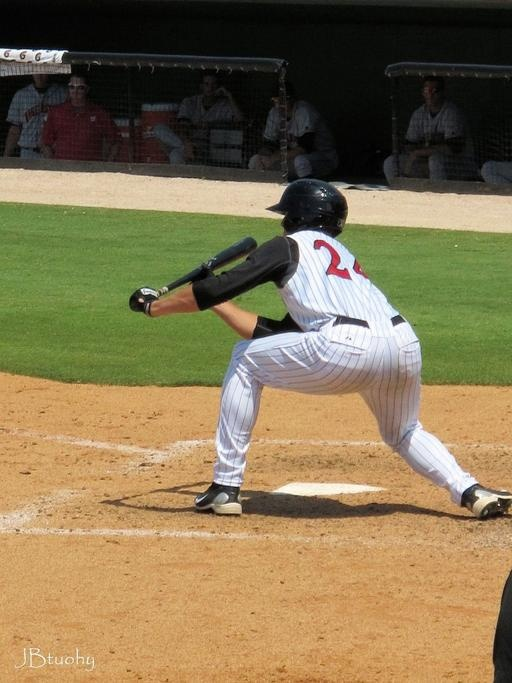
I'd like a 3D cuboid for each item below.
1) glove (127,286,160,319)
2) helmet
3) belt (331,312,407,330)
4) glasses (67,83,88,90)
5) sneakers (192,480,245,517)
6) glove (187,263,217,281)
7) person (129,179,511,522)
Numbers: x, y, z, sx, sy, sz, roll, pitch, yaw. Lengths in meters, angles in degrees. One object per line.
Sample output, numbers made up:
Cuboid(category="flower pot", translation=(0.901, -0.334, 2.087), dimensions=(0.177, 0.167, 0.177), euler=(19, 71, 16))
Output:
Cuboid(category="glove", translation=(-0.423, -0.142, 4.848), dimensions=(0.134, 0.103, 0.091), euler=(2, -12, -4))
Cuboid(category="helmet", translation=(0.213, -0.499, 4.922), dimensions=(0.289, 0.201, 0.210), euler=(15, 8, 25))
Cuboid(category="belt", translation=(0.414, -0.069, 4.605), dimensions=(0.303, 0.043, 0.064), euler=(-5, 14, -26))
Cuboid(category="glasses", translation=(-1.764, -2.459, 12.419), dimensions=(0.127, 0.034, 0.121), euler=(3, 4, 31))
Cuboid(category="sneakers", translation=(-0.142, 0.609, 4.818), dimensions=(0.229, 0.100, 0.089), euler=(3, 0, 43))
Cuboid(category="glove", translation=(-0.208, -0.256, 4.840), dimensions=(0.104, 0.065, 0.033), euler=(-35, 35, 1))
Cuboid(category="person", translation=(0.511, 0.067, 5.054), dimensions=(1.807, 1.333, 0.921), euler=(2, -15, 28))
